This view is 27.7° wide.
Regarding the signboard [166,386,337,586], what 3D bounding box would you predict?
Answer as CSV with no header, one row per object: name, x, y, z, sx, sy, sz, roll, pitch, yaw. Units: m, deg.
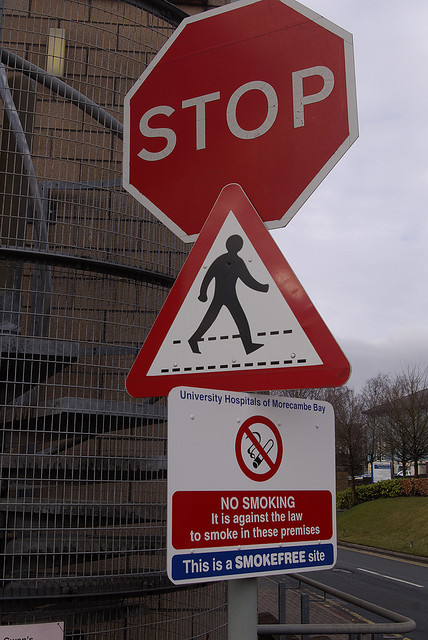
signboard,0.078,0.381,2.009,0.366,0.454,0.027,2,-7,-15
